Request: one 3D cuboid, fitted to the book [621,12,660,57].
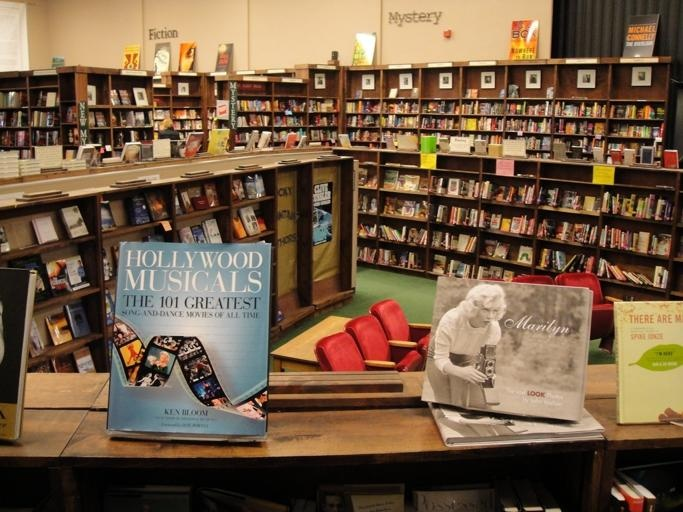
[{"bbox_3d":[6.243,-4.569,10.762,0.607,0.865,0.448,6,16,26],"label":"book"}]

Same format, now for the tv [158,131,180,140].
[{"bbox_3d":[-2.896,-2.031,8.618,0.223,0.135,0.759,-3,13,-9],"label":"tv"}]
